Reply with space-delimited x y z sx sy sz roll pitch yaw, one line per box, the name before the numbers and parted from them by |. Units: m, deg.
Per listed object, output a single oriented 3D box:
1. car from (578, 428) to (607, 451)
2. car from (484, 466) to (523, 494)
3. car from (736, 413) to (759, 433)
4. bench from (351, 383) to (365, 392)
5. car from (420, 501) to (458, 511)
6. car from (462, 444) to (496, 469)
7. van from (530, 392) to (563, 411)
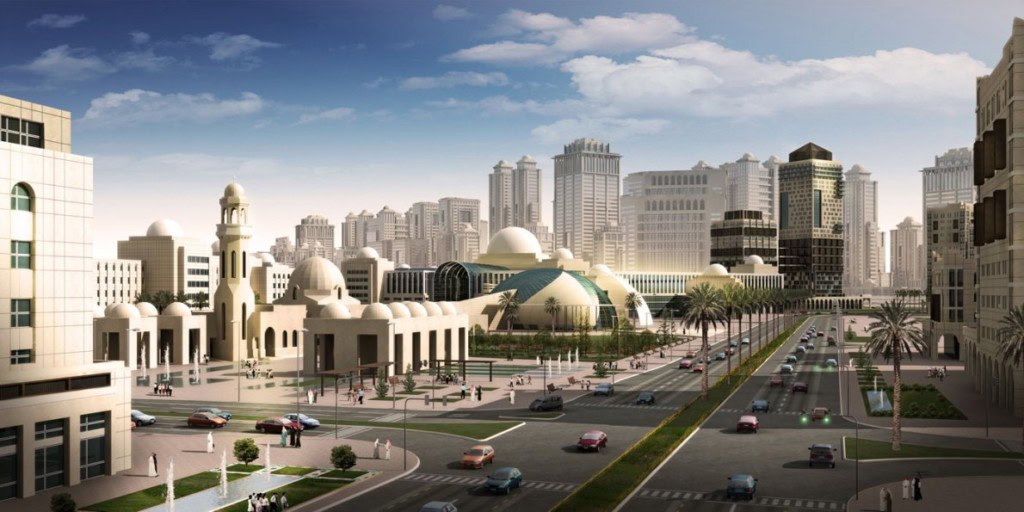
car | 9.790 22.576 105.965 1.949 1.999 3.485 -6 -5 39
car | -0.954 24.642 95.544 2.371 2.406 3.906 -5 -4 36
car | 30.269 21.654 111.685 2.655 1.900 1.502 -3 -3 0
bench | -24.293 20.284 134.560 1.833 0.328 1.519 1 7 7
car | -7.714 25.855 89.495 2.691 0.947 1.394 -2 3 -2
car | -3.804 23.395 101.369 1.802 2.281 4.080 -6 -5 38
van | 4.832 21.012 123.324 4.221 1.356 2.073 2 -5 -6
